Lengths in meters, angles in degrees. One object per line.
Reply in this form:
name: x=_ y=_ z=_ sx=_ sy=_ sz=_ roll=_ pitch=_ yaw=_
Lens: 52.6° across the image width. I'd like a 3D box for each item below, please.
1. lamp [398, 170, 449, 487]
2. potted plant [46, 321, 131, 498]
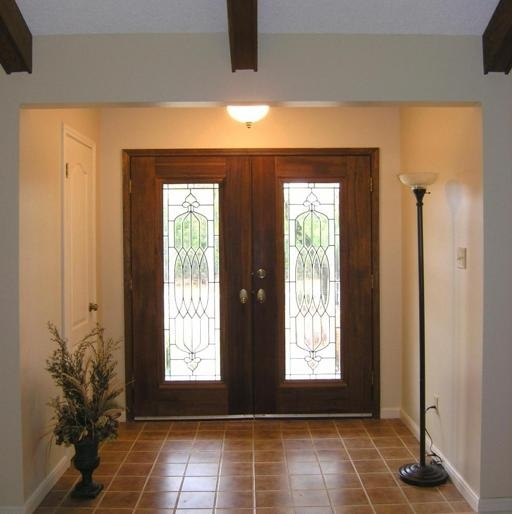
lamp: x=1.027 y=0.405 z=3.138 sx=0.273 sy=1.773 sz=0.573 roll=1 pitch=4 yaw=22
potted plant: x=-1.077 y=0.820 z=3.333 sx=0.415 sy=0.968 sz=1.279 roll=-2 pitch=4 yaw=-15
